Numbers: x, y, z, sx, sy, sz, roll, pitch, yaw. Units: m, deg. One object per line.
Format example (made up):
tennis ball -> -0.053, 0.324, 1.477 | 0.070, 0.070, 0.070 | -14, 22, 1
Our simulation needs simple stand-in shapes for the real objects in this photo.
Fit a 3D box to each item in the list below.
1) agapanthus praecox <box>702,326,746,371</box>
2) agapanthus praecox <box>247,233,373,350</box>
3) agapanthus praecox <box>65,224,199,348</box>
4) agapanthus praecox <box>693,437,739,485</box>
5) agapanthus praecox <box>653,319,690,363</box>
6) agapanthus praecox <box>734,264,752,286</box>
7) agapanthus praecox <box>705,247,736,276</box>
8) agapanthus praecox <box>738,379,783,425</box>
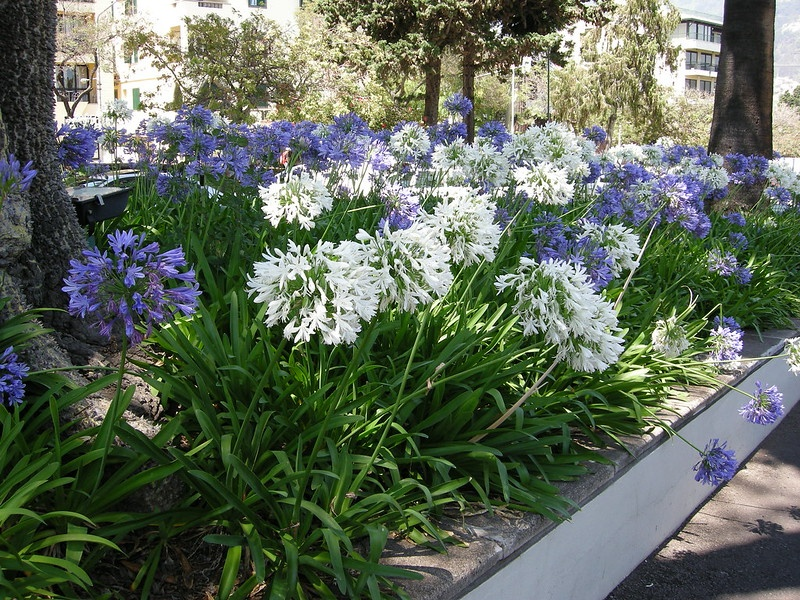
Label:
agapanthus praecox -> 2.692, 0.416, 4.780 | 0.256, 0.296, 0.302 | 3, 57, 20
agapanthus praecox -> -0.309, -0.023, 2.287 | 0.417, 0.332, 0.429 | 9, -5, -1
agapanthus praecox -> -0.924, -0.036, 2.003 | 0.403, 0.419, 0.261 | -6, 9, -18
agapanthus praecox -> 2.058, 1.069, 3.760 | 0.228, 0.359, 0.330 | 2, 10, 28
agapanthus praecox -> 1.765, 0.249, 3.739 | 0.254, 0.242, 0.308 | 9, 1, 6
agapanthus praecox -> 3.457, -0.248, 5.806 | 0.134, 0.207, 0.597 | 2, 10, 30
agapanthus praecox -> 3.086, -0.367, 5.544 | 0.260, 0.197, 0.264 | 3, 41, 5
agapanthus praecox -> 2.551, 0.725, 4.028 | 0.244, 0.353, 0.208 | -3, 9, 0
